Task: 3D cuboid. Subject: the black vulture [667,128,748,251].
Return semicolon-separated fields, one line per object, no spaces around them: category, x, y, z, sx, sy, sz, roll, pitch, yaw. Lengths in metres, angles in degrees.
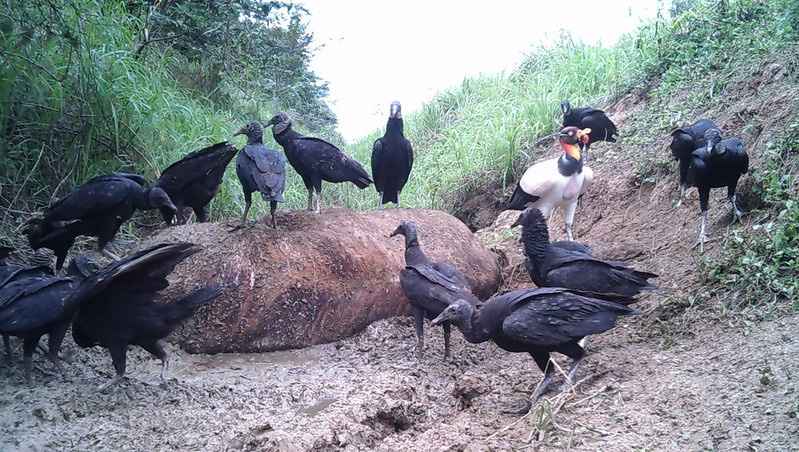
black vulture;4.267;-0.500;9.081;0.717;1.629;0.420;1;11;16

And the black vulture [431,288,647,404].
black vulture;1.423;1.312;8.538;2.886;1.454;0.937;-13;0;22

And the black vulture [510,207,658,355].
black vulture;1.738;0.489;8.835;2.626;1.782;1.063;-4;5;41

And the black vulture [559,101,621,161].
black vulture;3.152;-1.720;11.174;1.293;0.771;0.568;-7;5;-11

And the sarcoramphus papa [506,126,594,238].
sarcoramphus papa;2.820;-0.756;10.685;1.148;1.744;2.640;2;2;11

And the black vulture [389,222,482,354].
black vulture;0.511;0.900;9.427;0.753;1.941;1.879;0;-1;-42
